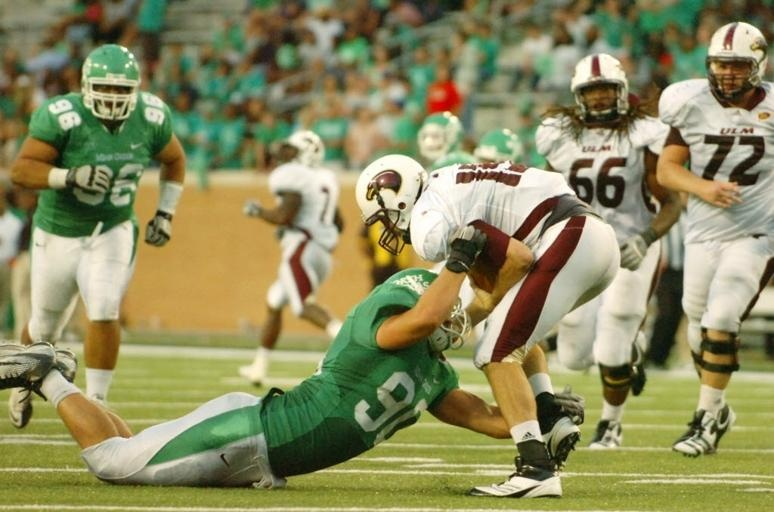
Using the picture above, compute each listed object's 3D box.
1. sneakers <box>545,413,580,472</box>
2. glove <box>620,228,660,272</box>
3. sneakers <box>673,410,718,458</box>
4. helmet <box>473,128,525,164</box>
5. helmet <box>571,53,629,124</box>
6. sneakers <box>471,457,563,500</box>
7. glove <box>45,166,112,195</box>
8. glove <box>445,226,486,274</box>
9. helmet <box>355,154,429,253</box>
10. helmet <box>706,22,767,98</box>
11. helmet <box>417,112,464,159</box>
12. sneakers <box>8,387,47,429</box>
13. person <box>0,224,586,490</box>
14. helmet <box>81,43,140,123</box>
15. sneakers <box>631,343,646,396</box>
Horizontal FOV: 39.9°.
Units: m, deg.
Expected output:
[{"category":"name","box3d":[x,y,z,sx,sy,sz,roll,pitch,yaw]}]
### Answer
[{"category":"sneakers","box3d":[1.012,1.037,6.013,0.129,0.358,0.159,5,33,-28]},{"category":"glove","box3d":[1.702,-0.055,7.307,0.108,0.292,0.211,48,-8,-8]},{"category":"sneakers","box3d":[2.052,1.150,7.079,0.551,0.242,0.173,-6,6,-44]},{"category":"helmet","box3d":[0.906,-0.935,9.122,0.425,0.347,0.308,7,5,-19]},{"category":"helmet","box3d":[1.475,-1.169,7.557,0.379,0.421,0.500,-9,-2,16]},{"category":"sneakers","box3d":[0.757,1.216,5.899,0.562,0.236,0.187,2,-7,8]},{"category":"glove","box3d":[-1.918,-0.500,6.637,0.298,0.186,0.131,-3,-34,0]},{"category":"glove","box3d":[0.418,-0.040,5.702,0.170,0.080,0.275,27,48,7]},{"category":"helmet","box3d":[-0.010,-0.313,6.127,0.547,0.572,0.451,-6,-1,8]},{"category":"helmet","box3d":[2.261,-1.259,6.914,0.396,0.483,0.506,-1,11,32]},{"category":"helmet","box3d":[0.465,-1.067,9.544,0.504,0.460,0.387,-10,9,-30]},{"category":"sneakers","box3d":[-2.419,1.015,7.154,0.254,0.404,0.145,16,19,39]},{"category":"person","box3d":[-0.591,0.543,5.917,2.520,1.449,0.536,1,2,6]},{"category":"helmet","box3d":[-1.777,-1.111,6.847,0.346,0.502,0.243,1,2,-16]},{"category":"sneakers","box3d":[1.827,0.839,7.779,0.130,0.374,0.164,3,20,15]}]
